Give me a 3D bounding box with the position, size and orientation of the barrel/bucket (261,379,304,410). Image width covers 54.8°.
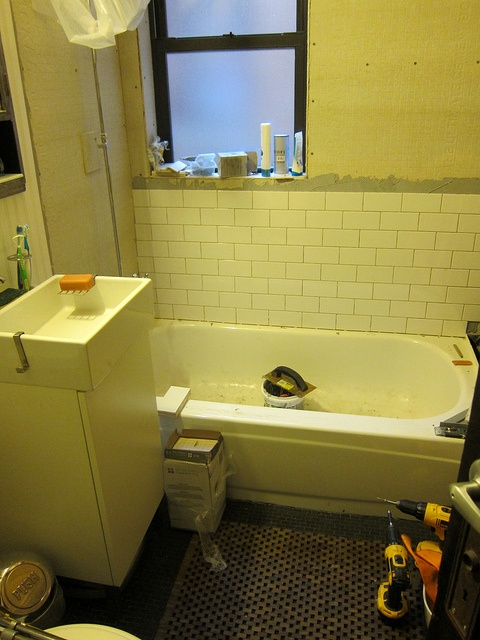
[{"bbox_3d":[0.212,0.348,2.286,0.144,0.183,0.158,-4,19,-8],"label":"barrel/bucket"}]

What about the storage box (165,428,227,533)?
[{"bbox_3d":[-0.190,0.717,2.056,0.205,0.417,0.224,4,19,22],"label":"storage box"}]

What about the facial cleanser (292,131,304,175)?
[{"bbox_3d":[0.328,-0.966,2.671,0.072,0.223,0.160,1,25,8],"label":"facial cleanser"}]
